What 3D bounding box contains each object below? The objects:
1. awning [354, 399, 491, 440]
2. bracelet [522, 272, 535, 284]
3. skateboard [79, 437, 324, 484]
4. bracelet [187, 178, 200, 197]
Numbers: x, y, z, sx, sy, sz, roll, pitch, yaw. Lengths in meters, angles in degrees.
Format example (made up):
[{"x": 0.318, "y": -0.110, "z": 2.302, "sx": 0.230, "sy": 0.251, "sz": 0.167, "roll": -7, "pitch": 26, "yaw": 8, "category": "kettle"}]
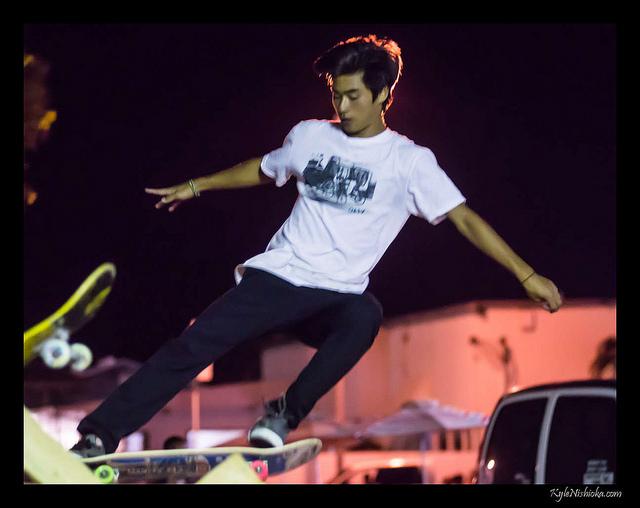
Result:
[{"x": 0.678, "y": 1.120, "z": 4.908, "sx": 0.862, "sy": 0.308, "sz": 0.027, "roll": 7, "pitch": -6, "yaw": 0, "category": "awning"}, {"x": 1.326, "y": 0.154, "z": 4.728, "sx": 0.105, "sy": 0.012, "sz": 0.013, "roll": -36, "pitch": 9, "yaw": 1, "category": "bracelet"}, {"x": -0.820, "y": 1.344, "z": 4.814, "sx": 1.385, "sy": 0.351, "sz": 0.220, "roll": 2, "pitch": 19, "yaw": 0, "category": "skateboard"}, {"x": -0.851, "y": -0.445, "z": 5.006, "sx": 0.027, "sy": 0.101, "sz": 0.083, "roll": -33, "pitch": 13, "yaw": -13, "category": "bracelet"}]
